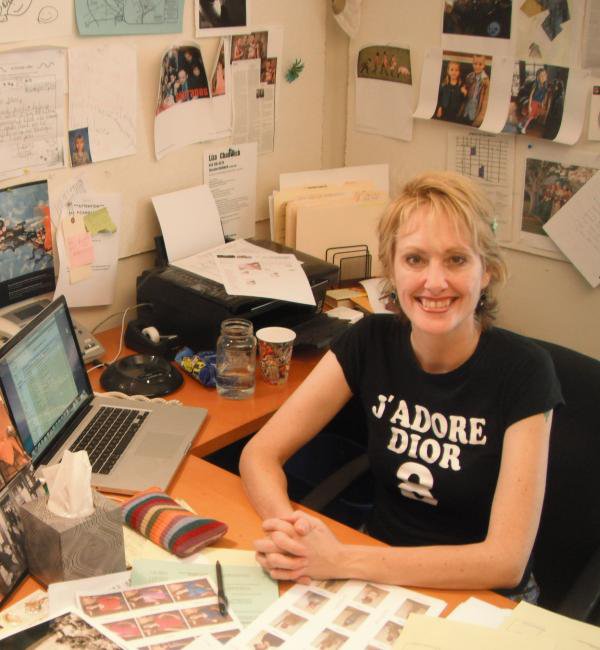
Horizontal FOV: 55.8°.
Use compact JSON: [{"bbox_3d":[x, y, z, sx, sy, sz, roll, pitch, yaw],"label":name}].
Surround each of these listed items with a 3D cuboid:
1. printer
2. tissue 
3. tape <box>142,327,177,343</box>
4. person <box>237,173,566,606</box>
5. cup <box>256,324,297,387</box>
[{"bbox_3d":[-0.234,-0.126,1.484,0.362,0.113,0.362,24,34,34],"label":"printer"},{"bbox_3d":[-0.289,0.255,0.785,0.131,0.173,0.129,8,17,22],"label":"tissue "},{"bbox_3d":[-0.372,0.017,1.494,0.067,0.027,0.050,7,16,21],"label":"tape"},{"bbox_3d":[0.157,0.136,0.976,0.534,0.732,0.528,-4,22,-7],"label":"person"},{"bbox_3d":[-0.058,0.075,1.457,0.133,0.125,0.130,1,19,0],"label":"cup"}]
